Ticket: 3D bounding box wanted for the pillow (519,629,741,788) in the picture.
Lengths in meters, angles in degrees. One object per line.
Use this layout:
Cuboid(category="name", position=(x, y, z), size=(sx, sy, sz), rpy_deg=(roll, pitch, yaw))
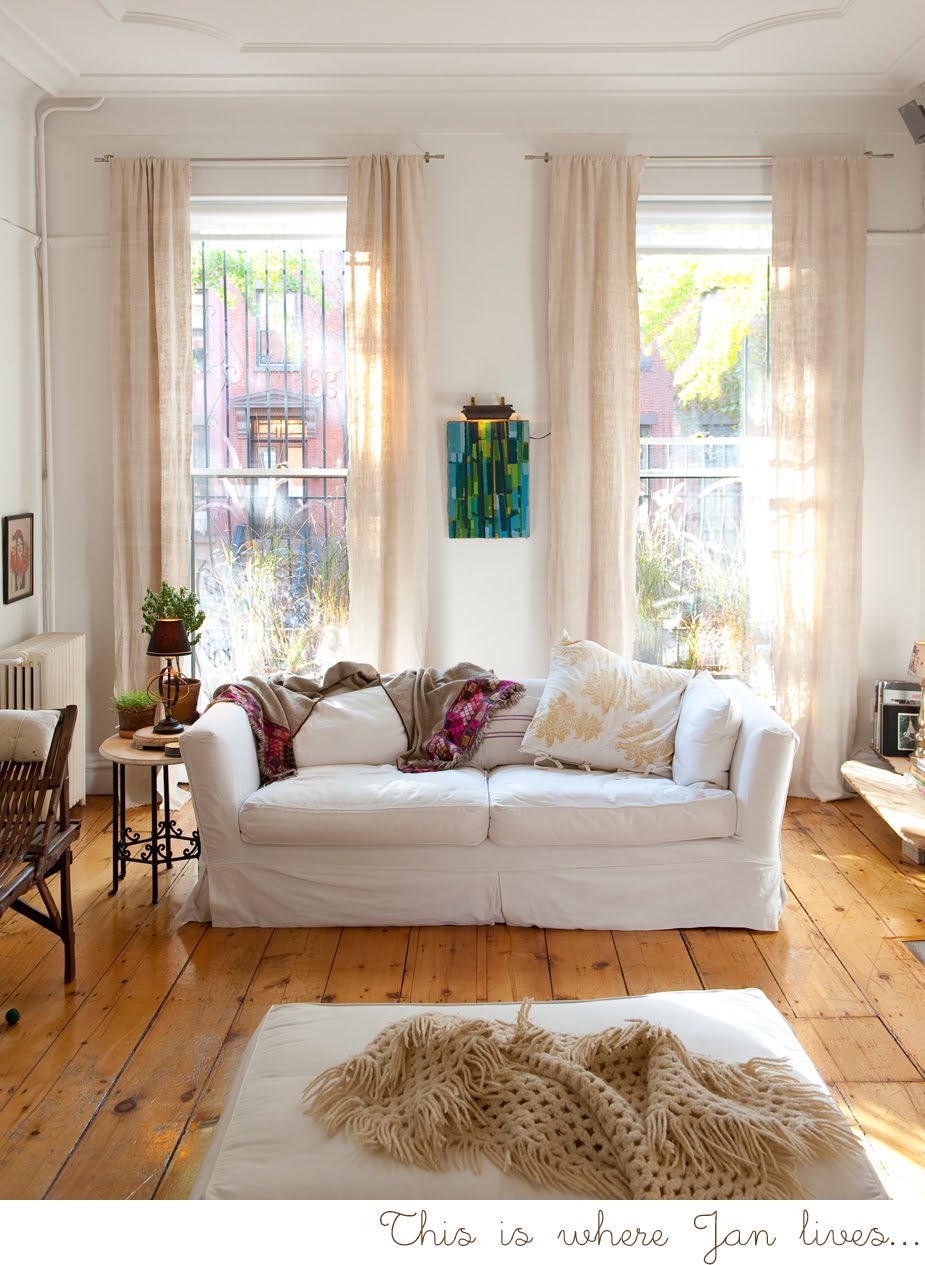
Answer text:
Cuboid(category="pillow", position=(0.563, 0.301, 3.545), size=(0.533, 0.489, 0.164), rpy_deg=(15, -22, 19))
